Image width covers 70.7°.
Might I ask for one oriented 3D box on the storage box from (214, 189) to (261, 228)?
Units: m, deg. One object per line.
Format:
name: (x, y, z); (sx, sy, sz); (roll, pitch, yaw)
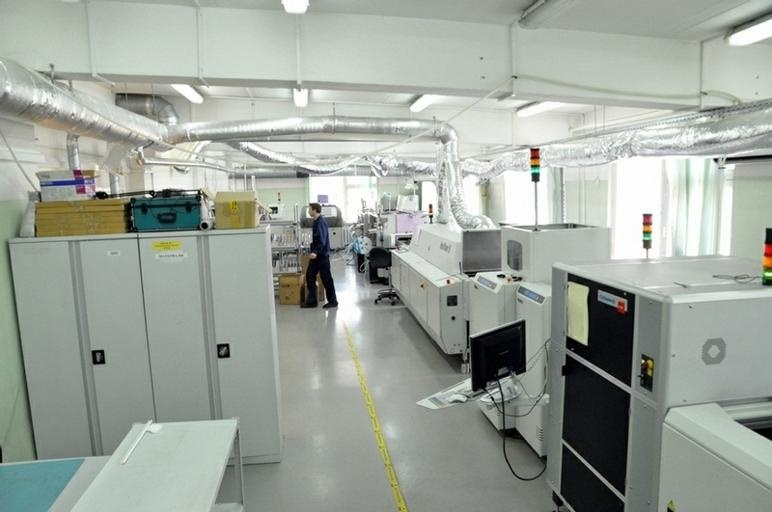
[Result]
storage box: (-1.285, -0.404, 4.626); (0.313, 0.248, 0.329); (0, 7, -6)

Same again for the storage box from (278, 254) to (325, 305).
storage box: (-1.394, 0.164, 9.069); (0.684, 0.894, 1.255); (0, 2, -2)

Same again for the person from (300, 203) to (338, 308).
person: (-1.044, 0.006, 8.399); (0.521, 1.632, 0.780); (-3, 7, -6)

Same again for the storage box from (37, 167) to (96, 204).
storage box: (-2.685, -0.598, 4.588); (0.333, 0.205, 0.325); (-3, 7, -9)

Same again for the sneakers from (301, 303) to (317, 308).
sneakers: (-1.209, 0.781, 8.542); (0.232, 0.084, 0.075); (3, 0, -8)

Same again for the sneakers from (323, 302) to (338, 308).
sneakers: (-0.867, 0.766, 8.500); (0.213, 0.086, 0.078); (0, 0, -9)
